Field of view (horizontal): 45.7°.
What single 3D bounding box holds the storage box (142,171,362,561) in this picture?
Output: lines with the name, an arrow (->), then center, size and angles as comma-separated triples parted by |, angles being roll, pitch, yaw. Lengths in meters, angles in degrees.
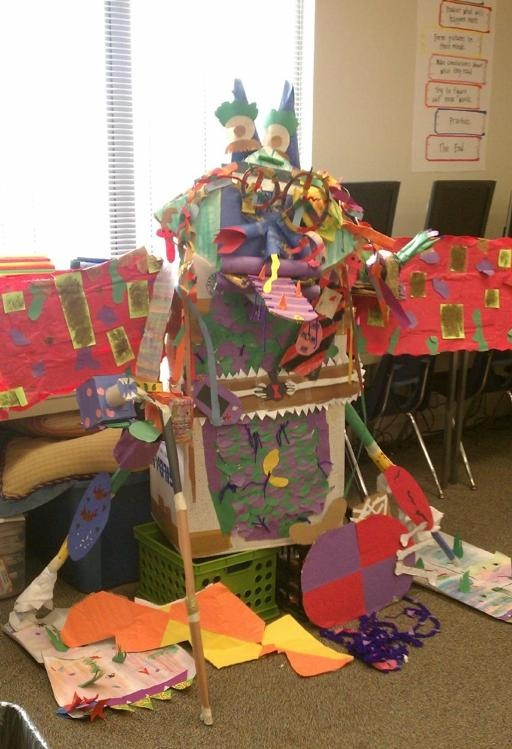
storage box -> 0.041, 0.001, 1.481 | 0.573, 0.965, 0.409 | 1, 10, -10
